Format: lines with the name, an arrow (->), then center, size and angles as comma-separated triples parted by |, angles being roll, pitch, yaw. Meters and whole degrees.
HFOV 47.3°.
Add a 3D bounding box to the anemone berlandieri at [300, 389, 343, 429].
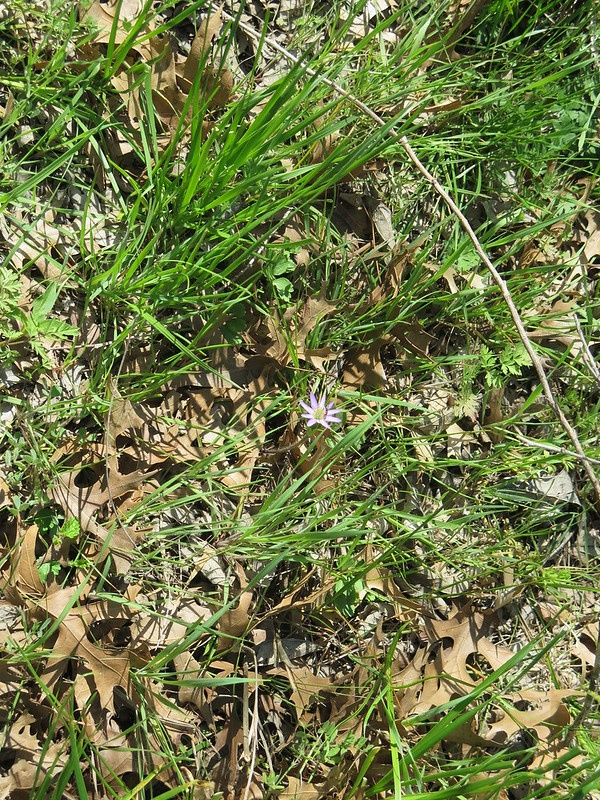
anemone berlandieri -> 0.057, 0.026, 1.774 | 0.105, 0.040, 0.104 | 34, 57, 8
